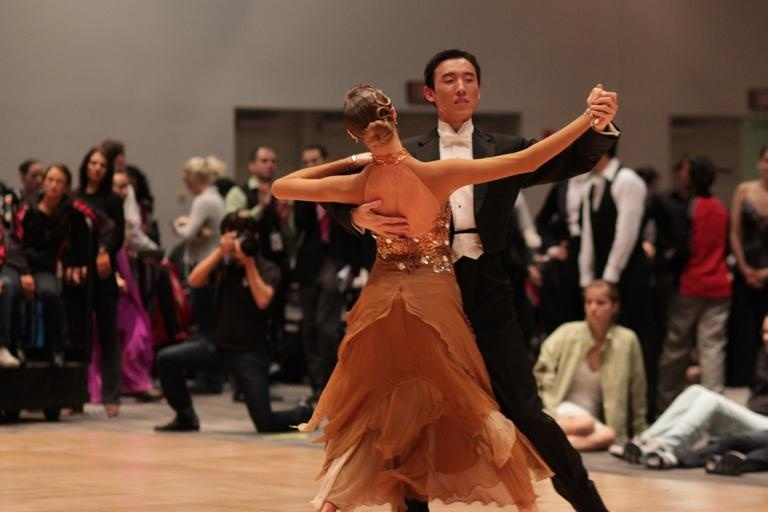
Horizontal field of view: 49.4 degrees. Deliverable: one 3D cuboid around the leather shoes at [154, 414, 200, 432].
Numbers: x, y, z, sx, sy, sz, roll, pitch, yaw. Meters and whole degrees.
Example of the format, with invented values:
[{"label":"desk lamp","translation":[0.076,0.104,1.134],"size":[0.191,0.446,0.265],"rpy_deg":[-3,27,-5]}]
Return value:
[{"label":"leather shoes","translation":[-1.123,0.909,4.524],"size":[0.239,0.155,0.086],"rpy_deg":[6,-16,-16]}]
